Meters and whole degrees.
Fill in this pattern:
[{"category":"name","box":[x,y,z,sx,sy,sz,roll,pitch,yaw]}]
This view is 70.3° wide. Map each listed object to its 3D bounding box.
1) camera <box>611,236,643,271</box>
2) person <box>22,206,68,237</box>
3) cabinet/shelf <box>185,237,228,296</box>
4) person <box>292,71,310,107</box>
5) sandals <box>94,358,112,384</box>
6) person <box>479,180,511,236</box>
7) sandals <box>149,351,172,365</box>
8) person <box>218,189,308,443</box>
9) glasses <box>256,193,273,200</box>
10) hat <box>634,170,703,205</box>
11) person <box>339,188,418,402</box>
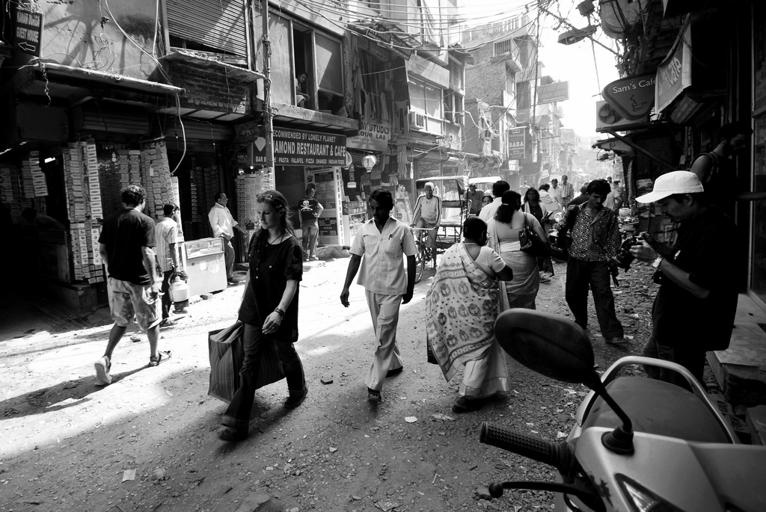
[{"category":"camera","box":[2.760,-0.046,6.205,0.248,0.389,0.198,16,15,39]},{"category":"person","box":[-7.035,-0.756,11.395,0.492,0.527,2.284,-11,11,-39]},{"category":"cabinet/shelf","box":[-3.703,0.244,11.450,0.480,0.941,0.923,-2,24,18]},{"category":"person","box":[-2.266,-4.707,15.342,0.327,1.079,1.194,-4,9,-5]},{"category":"sandals","box":[-3.891,1.616,7.610,0.156,0.425,0.175,-2,19,-18]},{"category":"person","box":[2.064,-0.949,10.102,0.507,0.815,1.761,4,10,8]},{"category":"sandals","box":[-3.346,1.518,8.291,0.121,0.161,0.341,2,16,16]},{"category":"person","box":[-1.464,0.673,6.737,1.111,2.892,0.619,-7,9,-23]},{"category":"glasses","box":[-1.481,-0.735,6.738,0.135,0.114,0.270,-10,11,-34]},{"category":"hat","box":[3.153,-0.752,6.003,0.677,0.349,0.457,-1,-4,30]},{"category":"person","box":[-0.022,0.452,7.388,0.979,2.680,1.008,-3,9,1]}]
